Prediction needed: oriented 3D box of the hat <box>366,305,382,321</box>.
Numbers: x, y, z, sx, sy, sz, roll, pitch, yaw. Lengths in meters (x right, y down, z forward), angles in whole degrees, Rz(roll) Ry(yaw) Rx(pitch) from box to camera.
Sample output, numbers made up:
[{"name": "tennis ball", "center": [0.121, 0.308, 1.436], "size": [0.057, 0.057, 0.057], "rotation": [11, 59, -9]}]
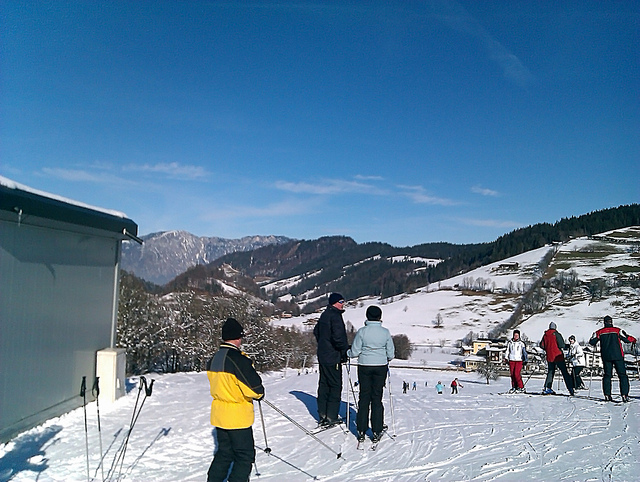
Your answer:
[{"name": "hat", "center": [1.231, 1.653, 11.814], "size": [0.321, 0.348, 0.461], "rotation": [-4, -12, 5]}]

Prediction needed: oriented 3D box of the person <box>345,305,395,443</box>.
[{"name": "person", "center": [1.197, 2.997, 11.655], "size": [0.945, 2.922, 0.533], "rotation": [-3, -11, 3]}]

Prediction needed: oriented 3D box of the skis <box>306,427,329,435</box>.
[{"name": "skis", "center": [-0.093, 4.602, 12.510], "size": [0.454, 0.116, 0.204], "rotation": [6, -15, -36]}]

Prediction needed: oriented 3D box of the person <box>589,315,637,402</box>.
[{"name": "person", "center": [8.730, 3.486, 15.279], "size": [1.106, 2.517, 1.223], "rotation": [-8, -12, 29]}]

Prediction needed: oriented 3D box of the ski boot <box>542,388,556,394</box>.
[{"name": "ski boot", "center": [7.819, 5.098, 17.553], "size": [0.408, 0.180, 0.679], "rotation": [-8, -13, 22]}]

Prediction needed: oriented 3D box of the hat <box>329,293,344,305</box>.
[{"name": "hat", "center": [0.383, 1.403, 12.304], "size": [0.253, 0.224, 0.249], "rotation": [-18, 0, 10]}]

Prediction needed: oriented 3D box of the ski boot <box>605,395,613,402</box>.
[{"name": "ski boot", "center": [8.690, 4.691, 15.395], "size": [0.206, 0.220, 0.151], "rotation": [2, -2, -22]}]

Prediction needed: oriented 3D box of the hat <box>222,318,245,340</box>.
[{"name": "hat", "center": [-1.649, 1.641, 9.604], "size": [0.399, 0.376, 0.333], "rotation": [-3, 0, 13]}]

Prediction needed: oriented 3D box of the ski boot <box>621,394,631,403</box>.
[{"name": "ski boot", "center": [9.120, 4.700, 15.317], "size": [0.121, 0.170, 0.408], "rotation": [-7, -29, 23]}]

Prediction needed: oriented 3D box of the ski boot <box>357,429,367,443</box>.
[{"name": "ski boot", "center": [0.947, 4.398, 11.654], "size": [0.181, 0.321, 0.435], "rotation": [-3, -12, 3]}]

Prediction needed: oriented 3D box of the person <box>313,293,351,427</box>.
[{"name": "person", "center": [0.299, 2.882, 12.492], "size": [0.834, 3.214, 1.354], "rotation": [-2, -11, -1]}]
